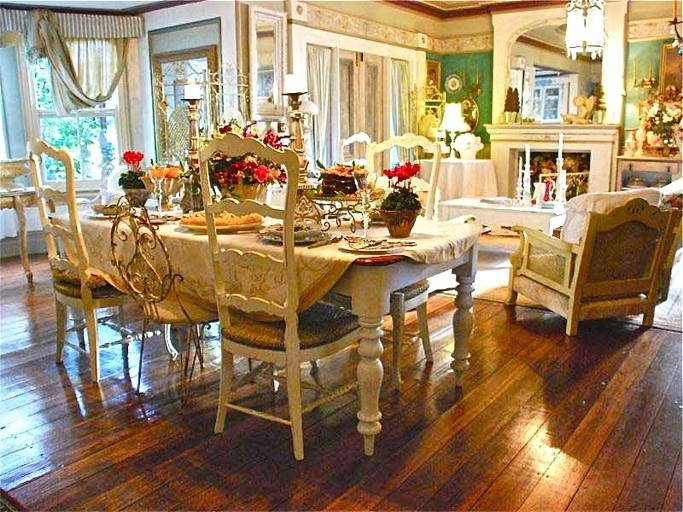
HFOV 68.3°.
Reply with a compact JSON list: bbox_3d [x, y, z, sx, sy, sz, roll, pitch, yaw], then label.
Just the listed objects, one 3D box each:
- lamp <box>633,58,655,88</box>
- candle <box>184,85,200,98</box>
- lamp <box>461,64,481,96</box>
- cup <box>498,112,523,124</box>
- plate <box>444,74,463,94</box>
[{"bbox_3d":[4.674,-2.762,7.746,0.311,0.422,0.124,6,16,30],"label":"lamp"},{"bbox_3d":[-0.922,-1.004,3.117,0.094,0.098,0.095,0,12,-15],"label":"candle"},{"bbox_3d":[2.335,-3.137,9.047,0.338,0.493,0.198,1,4,13],"label":"lamp"},{"bbox_3d":[2.910,-2.391,8.726,0.395,0.285,0.214,4,20,12],"label":"cup"},{"bbox_3d":[2.050,-3.142,9.201,0.347,0.344,0.072,8,17,36],"label":"plate"}]
